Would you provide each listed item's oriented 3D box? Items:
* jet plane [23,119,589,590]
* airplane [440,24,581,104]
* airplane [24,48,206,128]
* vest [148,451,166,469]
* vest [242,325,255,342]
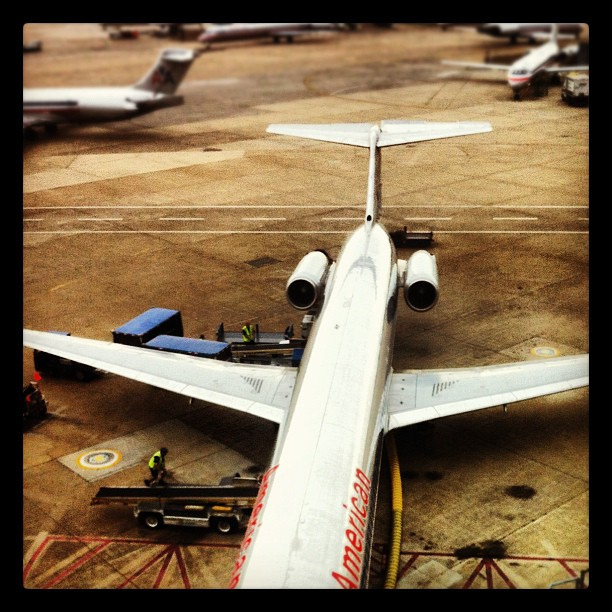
[{"bbox_3d":[1.880,0.407,20.679,11.360,9.358,12.798,-5,14,-21],"label":"jet plane"},{"bbox_3d":[12.541,-14.848,53.921,7.243,4.617,10.761,0,13,-2],"label":"airplane"},{"bbox_3d":[-10.375,-11.705,46.700,8.471,4.038,4.220,1,14,4],"label":"airplane"},{"bbox_3d":[-3.525,3.652,20.514,0.183,0.406,0.510,12,18,37],"label":"vest"},{"bbox_3d":[-1.778,0.863,26.711,0.317,0.462,0.438,13,27,31],"label":"vest"}]
